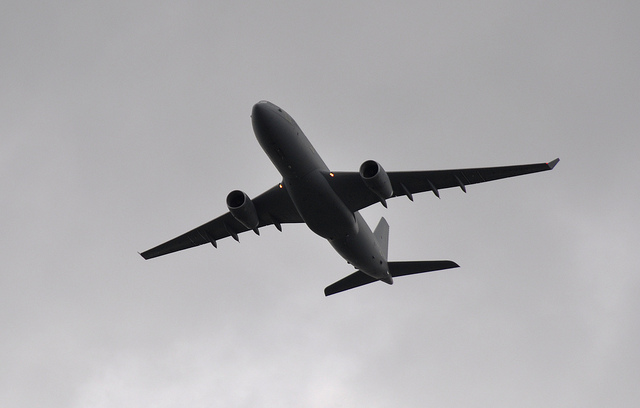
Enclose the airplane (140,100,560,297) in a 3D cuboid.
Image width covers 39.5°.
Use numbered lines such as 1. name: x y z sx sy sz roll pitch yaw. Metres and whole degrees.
1. airplane: 0.201 0.118 58.122 20.543 5.651 14.853 -18 -61 17
